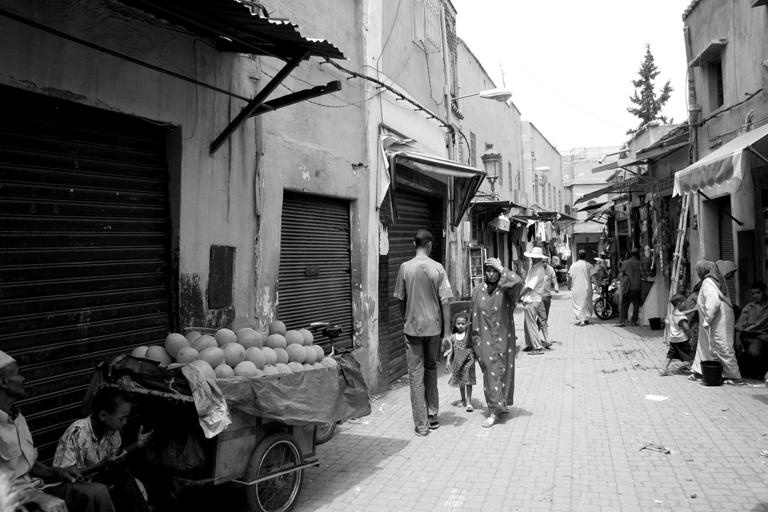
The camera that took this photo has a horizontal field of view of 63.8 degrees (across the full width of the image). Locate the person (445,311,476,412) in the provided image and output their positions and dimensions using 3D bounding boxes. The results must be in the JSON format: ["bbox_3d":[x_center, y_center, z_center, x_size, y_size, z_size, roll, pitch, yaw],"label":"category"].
[{"bbox_3d":[1.240,1.650,9.755,0.506,1.451,0.690,-1,-2,10],"label":"person"}]

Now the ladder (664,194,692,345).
[{"bbox_3d":[6.493,0.387,13.304,0.390,4.289,0.375,8,47,38],"label":"ladder"}]

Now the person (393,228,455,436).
[{"bbox_3d":[0.560,1.011,9.097,0.925,2.731,0.979,0,-1,-1],"label":"person"}]

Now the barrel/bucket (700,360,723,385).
[{"bbox_3d":[5.637,1.977,10.573,0.332,0.353,0.376,-1,-12,10],"label":"barrel/bucket"}]

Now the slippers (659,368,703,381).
[{"bbox_3d":[5.469,2.152,11.310,0.586,0.278,0.204,-10,-7,44],"label":"slippers"}]

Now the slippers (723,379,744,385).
[{"bbox_3d":[6.039,2.148,10.662,0.316,0.047,0.297,1,6,27],"label":"slippers"}]

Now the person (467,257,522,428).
[{"bbox_3d":[1.654,1.152,9.222,0.889,2.193,0.625,-4,-6,32],"label":"person"}]

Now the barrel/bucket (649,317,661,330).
[{"bbox_3d":[7.514,1.828,17.092,0.285,0.328,0.318,-2,-10,28],"label":"barrel/bucket"}]
